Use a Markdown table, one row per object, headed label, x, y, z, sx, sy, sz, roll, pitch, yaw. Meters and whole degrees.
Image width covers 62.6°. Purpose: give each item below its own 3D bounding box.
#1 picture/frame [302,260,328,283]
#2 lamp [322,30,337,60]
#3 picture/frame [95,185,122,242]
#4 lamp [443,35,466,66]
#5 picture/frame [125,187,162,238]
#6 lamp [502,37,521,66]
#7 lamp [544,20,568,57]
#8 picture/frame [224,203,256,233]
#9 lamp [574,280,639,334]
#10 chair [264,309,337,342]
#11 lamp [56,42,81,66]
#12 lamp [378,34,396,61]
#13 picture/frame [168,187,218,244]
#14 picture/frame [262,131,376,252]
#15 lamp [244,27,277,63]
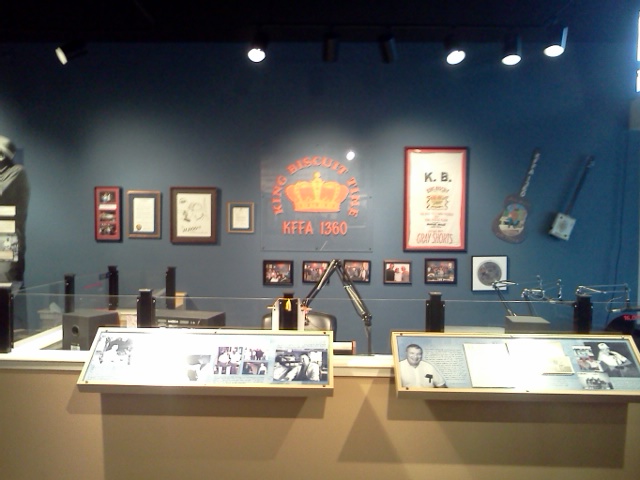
| label | x | y | z | sx | sy | sz | roll | pitch | yaw |
| --- | --- | --- | --- | --- | --- | --- | --- | --- | --- |
| picture/frame | -0.039 | 0.277 | 4.750 | 0.196 | 0.180 | 0.020 | 1 | 0 | -3 |
| lamp | 0.092 | -1.758 | 4.776 | 0.139 | 0.213 | 0.265 | 0 | 1 | 1 |
| picture/frame | -2.058 | -0.248 | 5.074 | 0.240 | 0.500 | 0.038 | -2 | 1 | -45 |
| lamp | 1.228 | -1.700 | 4.754 | 0.190 | 0.235 | 0.320 | 0 | 1 | 16 |
| picture/frame | -1.680 | -0.266 | 5.032 | 0.449 | 0.653 | 0.065 | 1 | 2 | 3 |
| lamp | 1.695 | -1.656 | 4.646 | 0.179 | 0.212 | 0.185 | 3 | -9 | 3 |
| lamp | 2.050 | -1.749 | 4.531 | 0.201 | 0.281 | 0.156 | 0 | 1 | 0 |
| picture/frame | -0.760 | -0.217 | 5.003 | 0.269 | 0.285 | 0.027 | -2 | 4 | -36 |
| lamp | 2.248 | 0.457 | 4.106 | 0.472 | 0.258 | 2.166 | 1 | 1 | 26 |
| chair | -0.080 | 0.595 | 3.832 | 0.345 | 0.339 | 0.330 | 1 | -11 | 4 |
| lamp | -2.297 | -1.708 | 4.802 | 0.128 | 0.140 | 0.246 | -1 | 40 | 21 |
| lamp | 0.602 | -1.704 | 4.690 | 0.136 | 0.193 | 0.207 | 1 | 1 | 21 |
| picture/frame | -1.192 | -0.253 | 4.996 | 0.503 | 0.613 | 0.059 | 1 | 2 | -1 |
| picture/frame | 0.034 | -0.504 | 4.955 | 1.076 | 1.140 | 0.014 | 0 | 0 | -1 |
| lamp | -0.539 | -1.746 | 4.775 | 0.162 | 0.303 | 0.305 | 0 | 1 | 12 |
